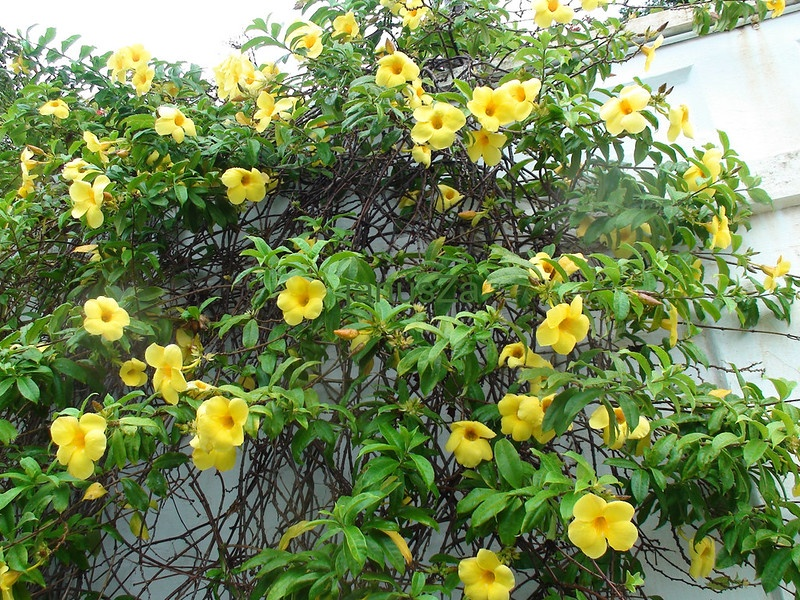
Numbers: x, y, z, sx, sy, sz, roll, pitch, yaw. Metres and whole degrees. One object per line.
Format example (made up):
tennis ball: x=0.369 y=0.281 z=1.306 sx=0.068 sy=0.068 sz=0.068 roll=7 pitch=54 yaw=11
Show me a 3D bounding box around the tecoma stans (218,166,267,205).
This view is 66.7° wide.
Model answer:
tecoma stans: x=-0.562 y=-0.414 z=2.247 sx=0.202 sy=0.132 sz=0.141 roll=-13 pitch=2 yaw=-26
